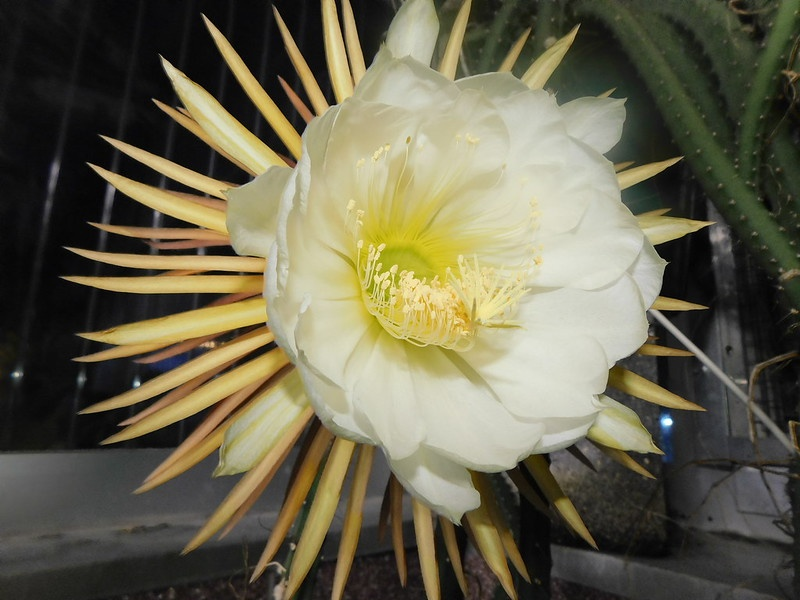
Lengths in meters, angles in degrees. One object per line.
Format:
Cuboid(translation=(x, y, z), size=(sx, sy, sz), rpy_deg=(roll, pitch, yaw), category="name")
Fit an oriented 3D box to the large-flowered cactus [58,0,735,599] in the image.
Cuboid(translation=(0.002, -0.025, 1.439), size=(1.180, 1.256, 0.455), rpy_deg=(-2, 4, -13), category="large-flowered cactus")
